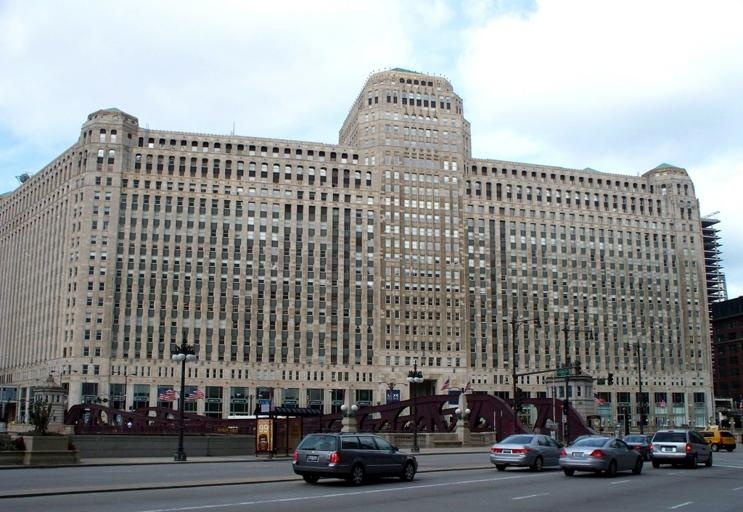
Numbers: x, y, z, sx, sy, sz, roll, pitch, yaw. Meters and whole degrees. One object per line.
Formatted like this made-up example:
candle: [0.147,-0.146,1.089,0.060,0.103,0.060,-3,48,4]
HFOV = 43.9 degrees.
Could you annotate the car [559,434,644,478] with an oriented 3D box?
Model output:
car: [15.973,13.902,64.032,5.264,2.683,1.959,6,-16,-25]

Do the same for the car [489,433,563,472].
car: [11.364,14.183,66.530,7.261,2.243,2.787,6,-10,-41]

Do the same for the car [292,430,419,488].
car: [-1.124,13.256,60.166,7.185,3.237,2.105,3,-15,-13]
